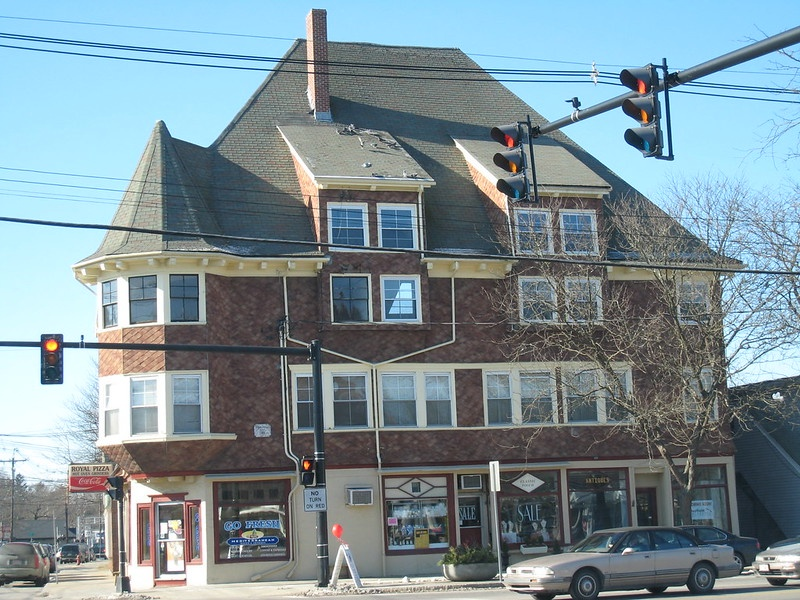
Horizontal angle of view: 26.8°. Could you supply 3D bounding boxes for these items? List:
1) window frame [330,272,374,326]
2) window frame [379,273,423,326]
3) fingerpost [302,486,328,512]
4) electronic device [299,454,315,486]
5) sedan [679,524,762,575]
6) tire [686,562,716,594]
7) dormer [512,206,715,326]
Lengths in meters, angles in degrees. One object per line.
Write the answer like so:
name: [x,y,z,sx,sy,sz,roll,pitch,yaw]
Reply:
window frame: [-2.089,0.010,69.243,2.247,2.562,0.105,2,-5,-13]
window frame: [-0.053,-0.005,69.675,2.282,2.417,0.162,0,-3,-10]
fingerpost: [-3.201,7.388,62.602,0.895,0.844,0.864,0,1,-1]
electronic device: [-3.402,6.365,62.566,0.568,1.120,0.394,-1,-12,-22]
sedan: [12.246,9.384,63.444,4.189,1.419,1.698,4,-6,-13]
tire: [10.537,9.759,59.291,1.092,1.031,0.367,3,-6,-21]
dormer: [8.404,-2.229,70.898,5.889,3.808,6.471,1,-5,-12]
